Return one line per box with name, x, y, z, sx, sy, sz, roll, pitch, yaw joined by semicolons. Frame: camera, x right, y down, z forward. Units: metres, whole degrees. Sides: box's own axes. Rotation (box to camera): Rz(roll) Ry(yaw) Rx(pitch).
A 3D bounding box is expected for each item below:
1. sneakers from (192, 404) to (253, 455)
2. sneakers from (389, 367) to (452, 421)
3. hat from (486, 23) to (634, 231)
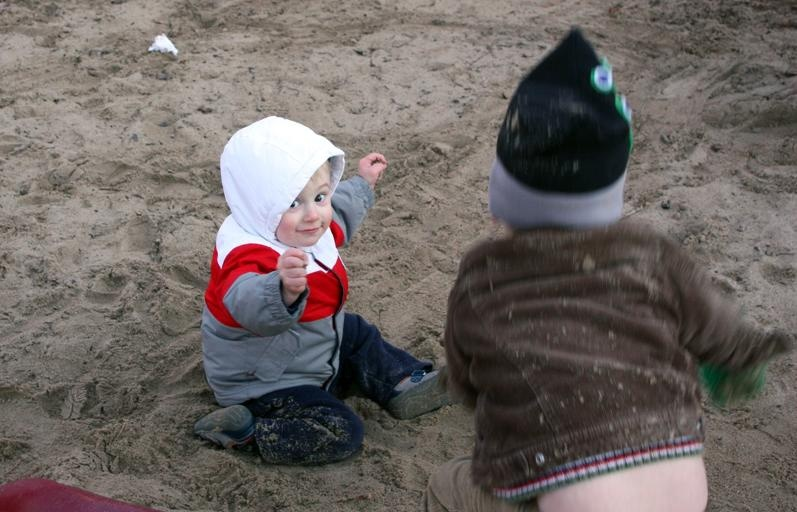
sneakers;-1.018;0.973;6.689;0.400;0.209;0.292;1;27;18
sneakers;0.124;0.827;6.689;0.310;0.221;0.170;-24;60;-21
hat;0.923;-0.710;6.075;0.699;0.939;1.096;-6;32;4
